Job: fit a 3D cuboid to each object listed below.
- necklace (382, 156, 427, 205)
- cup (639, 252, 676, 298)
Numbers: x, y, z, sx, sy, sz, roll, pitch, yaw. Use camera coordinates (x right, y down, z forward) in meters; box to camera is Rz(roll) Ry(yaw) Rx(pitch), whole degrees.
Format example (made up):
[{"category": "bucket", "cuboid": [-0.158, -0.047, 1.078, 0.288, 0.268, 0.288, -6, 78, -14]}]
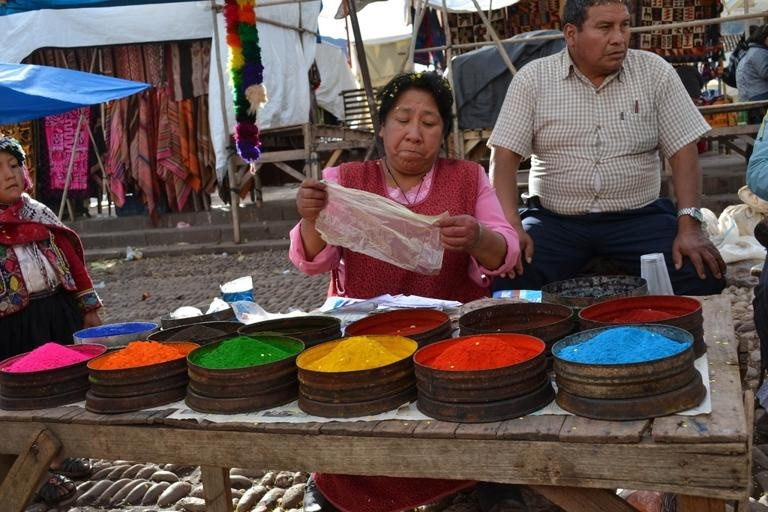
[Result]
[{"category": "necklace", "cuboid": [0.153, -0.477, 6.399, 0.273, 0.321, 0.181, -2, -11, -1]}, {"category": "cup", "cuboid": [1.742, 0.127, 6.007, 0.177, 0.248, 0.336, -2, 14, 12]}]
